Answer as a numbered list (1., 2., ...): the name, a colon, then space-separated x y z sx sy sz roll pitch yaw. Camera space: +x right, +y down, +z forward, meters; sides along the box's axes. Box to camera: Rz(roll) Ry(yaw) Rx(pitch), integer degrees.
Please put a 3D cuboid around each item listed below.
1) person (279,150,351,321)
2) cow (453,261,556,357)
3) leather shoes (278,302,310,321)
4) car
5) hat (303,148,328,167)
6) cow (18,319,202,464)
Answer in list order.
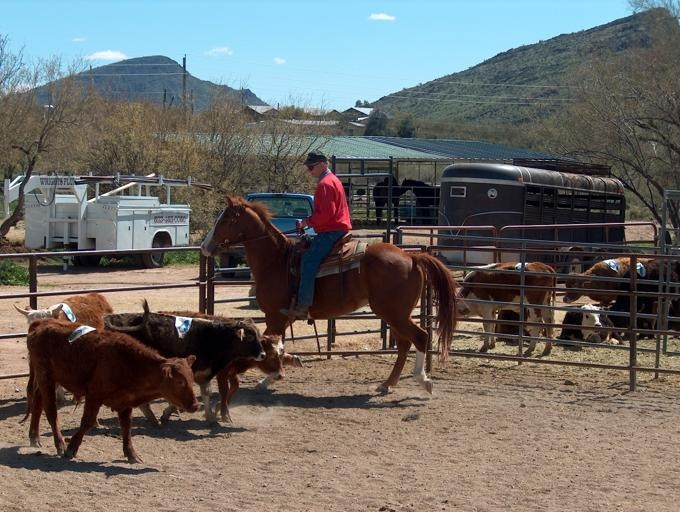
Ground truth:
1. person: -0.339 -0.262 13.241 0.613 2.526 1.023 9 14 38
2. cow: 2.881 0.857 15.461 1.614 1.830 2.302 3 11 12
3. leather shoes: -0.647 0.824 13.215 0.548 0.217 0.170 8 -16 1
4. car: -1.701 -0.646 21.668 1.769 1.353 2.938 0 3 4
5. hat: -0.352 -1.446 13.280 0.341 0.170 0.241 -1 7 -6
6. cow: -2.832 1.660 10.819 2.147 1.607 0.532 3 11 13
